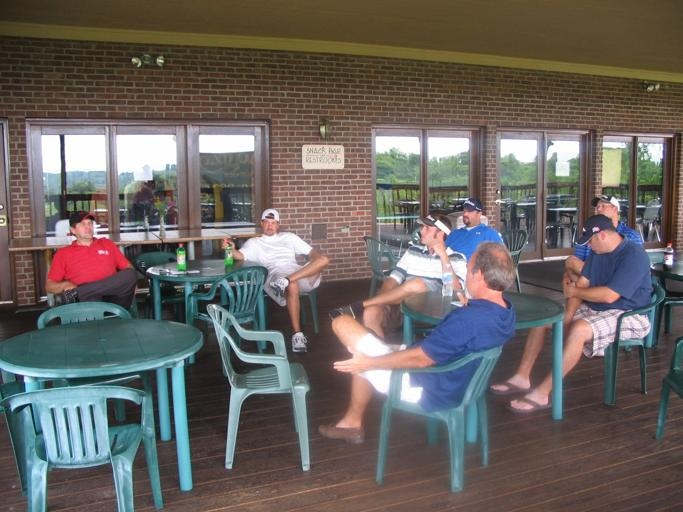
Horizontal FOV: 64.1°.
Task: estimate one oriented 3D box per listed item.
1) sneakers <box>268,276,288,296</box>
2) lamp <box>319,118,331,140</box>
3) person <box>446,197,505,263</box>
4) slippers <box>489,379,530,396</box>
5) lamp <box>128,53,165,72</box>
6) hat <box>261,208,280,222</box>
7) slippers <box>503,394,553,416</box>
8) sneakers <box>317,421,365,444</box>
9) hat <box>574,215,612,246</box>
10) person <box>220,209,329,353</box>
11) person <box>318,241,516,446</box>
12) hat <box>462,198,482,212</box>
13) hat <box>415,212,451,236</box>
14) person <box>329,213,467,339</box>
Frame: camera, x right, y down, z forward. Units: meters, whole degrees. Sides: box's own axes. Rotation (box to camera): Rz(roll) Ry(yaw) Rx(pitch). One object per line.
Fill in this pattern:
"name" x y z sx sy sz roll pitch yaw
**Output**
"sneakers" -0.670 0.313 5.724 0.148 0.107 0.322 -17 12 -17
"lamp" -0.232 -1.881 8.080 0.206 0.310 0.143 -5 13 -18
"person" 1.406 -0.288 5.880 0.423 0.626 0.741 7 -3 -39
"slippers" 1.370 1.059 4.421 0.290 0.075 0.122 1 5 -2
"lamp" -2.561 -2.564 7.186 0.449 0.190 0.115 -5 13 -19
"hat" -0.823 -0.470 6.301 0.193 0.102 0.264 3 4 -7
"slippers" 1.420 1.126 4.156 0.266 0.060 0.136 -1 4 -16
"sneakers" -0.006 1.212 3.841 0.310 0.112 0.113 7 8 22
"hat" 1.989 -0.222 4.357 0.275 0.148 0.178 -23 11 17
"person" -0.743 0.201 6.004 1.078 0.886 1.537 -3 26 -22
"person" 0.622 0.377 3.880 1.310 1.528 0.959 14 17 29
"hat" 1.384 -0.527 5.726 0.172 0.087 0.120 15 -2 -34
"hat" 0.838 -0.253 4.912 0.278 0.098 0.187 21 4 -12
"person" 0.610 0.203 4.831 0.724 1.202 1.117 15 12 41
